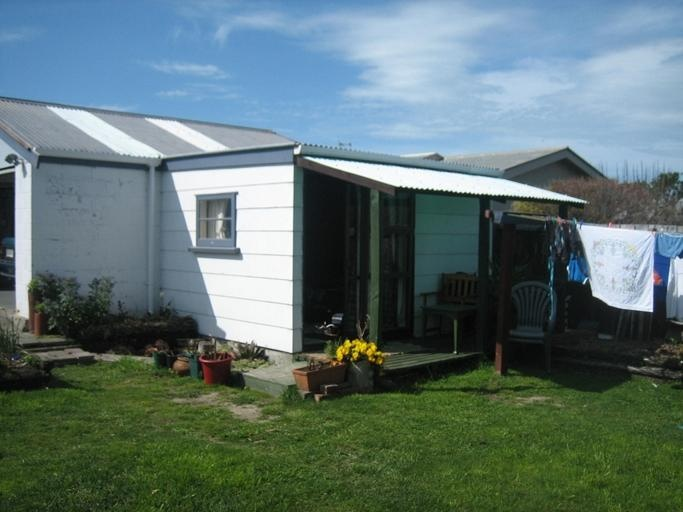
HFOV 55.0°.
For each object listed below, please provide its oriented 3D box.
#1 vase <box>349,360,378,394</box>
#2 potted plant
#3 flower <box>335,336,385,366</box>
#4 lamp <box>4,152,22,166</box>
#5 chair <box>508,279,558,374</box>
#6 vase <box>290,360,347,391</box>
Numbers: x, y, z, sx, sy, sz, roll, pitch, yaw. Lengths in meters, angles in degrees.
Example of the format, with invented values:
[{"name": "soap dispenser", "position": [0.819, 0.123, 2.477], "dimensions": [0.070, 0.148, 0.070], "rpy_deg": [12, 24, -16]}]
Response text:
[{"name": "vase", "position": [0.308, 1.846, 10.350], "dimensions": [0.440, 0.634, 0.520], "rpy_deg": [-2, -3, 19]}, {"name": "potted plant", "position": [-4.534, 1.214, 12.549], "dimensions": [2.878, 1.208, 2.210], "rpy_deg": [4, 0, 26]}, {"name": "flower", "position": [0.304, 1.489, 10.212], "dimensions": [0.476, 0.281, 0.491], "rpy_deg": [0, -1, 41]}, {"name": "lamp", "position": [-6.598, -1.955, 13.101], "dimensions": [0.348, 0.337, 0.106], "rpy_deg": [10, 15, 14]}, {"name": "chair", "position": [3.447, 1.145, 11.799], "dimensions": [0.765, 1.514, 1.305], "rpy_deg": [4, 14, 15]}, {"name": "vase", "position": [-0.318, 1.819, 10.064], "dimensions": [0.660, 0.253, 0.393], "rpy_deg": [-2, 1, -38]}]
